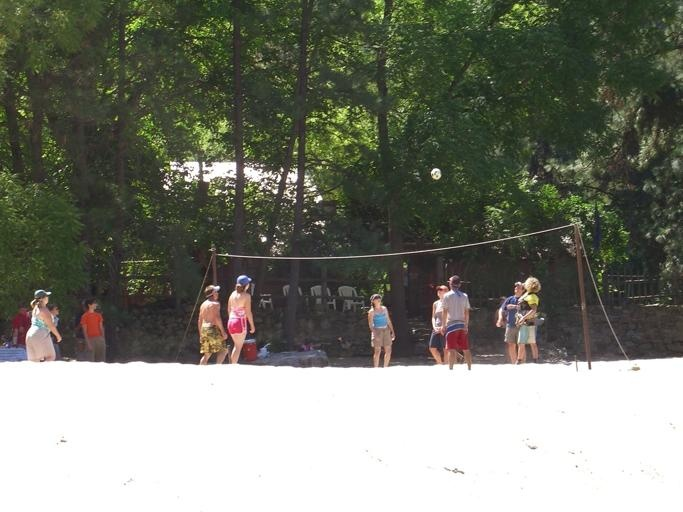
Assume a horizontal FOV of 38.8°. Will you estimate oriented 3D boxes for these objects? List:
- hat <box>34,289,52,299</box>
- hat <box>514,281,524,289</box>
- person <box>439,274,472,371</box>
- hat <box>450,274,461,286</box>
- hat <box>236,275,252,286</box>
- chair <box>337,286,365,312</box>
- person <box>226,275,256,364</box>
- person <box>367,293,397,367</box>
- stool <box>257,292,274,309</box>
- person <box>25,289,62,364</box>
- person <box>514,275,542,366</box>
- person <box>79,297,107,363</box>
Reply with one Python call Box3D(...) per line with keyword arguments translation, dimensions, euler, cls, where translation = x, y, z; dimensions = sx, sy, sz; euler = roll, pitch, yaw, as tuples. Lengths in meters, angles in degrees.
Box3D(translation=(-6.250, 0.811, 20.289), dimensions=(0.243, 0.180, 0.334), euler=(5, 9, 43), cls="hat")
Box3D(translation=(4.306, 0.716, 23.363), dimensions=(0.274, 0.164, 0.351), euler=(1, -5, -2), cls="hat")
Box3D(translation=(2.352, 1.364, 19.594), dimensions=(0.623, 2.005, 0.835), euler=(2, 13, 6), cls="person")
Box3D(translation=(2.297, 0.509, 19.427), dimensions=(0.213, 0.196, 0.323), euler=(2, 17, -4), cls="hat")
Box3D(translation=(-2.194, 0.565, 21.785), dimensions=(0.317, 0.180, 0.227), euler=(-27, 40, -31), cls="hat")
Box3D(translation=(0.238, 1.373, 30.983), dimensions=(0.593, 1.117, 0.793), euler=(2, -8, -21), cls="chair")
Box3D(translation=(-2.097, 1.393, 20.357), dimensions=(0.495, 2.014, 1.243), euler=(0, 13, -5), cls="person")
Box3D(translation=(0.941, 1.747, 21.486), dimensions=(0.509, 1.841, 0.518), euler=(-6, 18, 1), cls="person")
Box3D(translation=(-2.323, 1.451, 30.514), dimensions=(0.413, 0.405, 0.720), euler=(1, 14, -2), cls="stool")
Box3D(translation=(-6.024, 1.451, 19.548), dimensions=(0.638, 1.599, 0.805), euler=(-3, 14, -17), cls="person")
Box3D(translation=(3.970, 1.460, 20.617), dimensions=(0.473, 2.028, 0.769), euler=(4, 13, 12), cls="person")
Box3D(translation=(-5.699, 1.813, 22.235), dimensions=(0.506, 1.646, 1.104), euler=(-3, 14, -16), cls="person")
